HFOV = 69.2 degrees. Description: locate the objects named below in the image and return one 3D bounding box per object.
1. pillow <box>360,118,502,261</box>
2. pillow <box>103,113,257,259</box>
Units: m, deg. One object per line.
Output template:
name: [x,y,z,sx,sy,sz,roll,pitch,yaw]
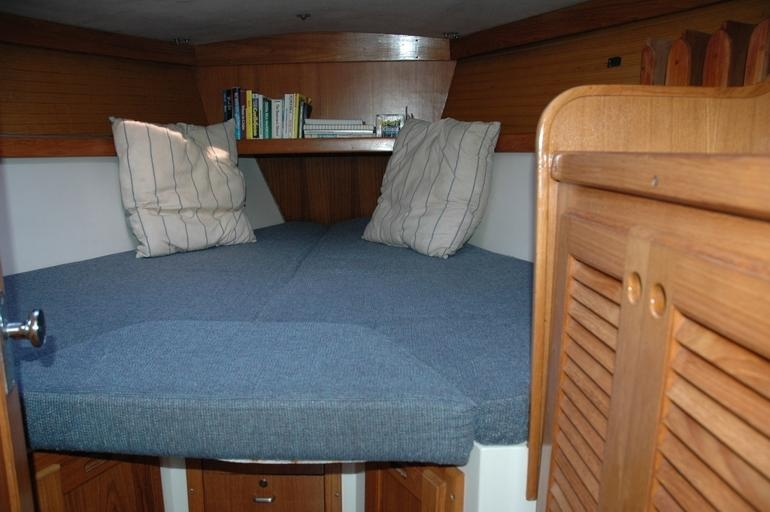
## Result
pillow: [0.304,-0.280,2.389,0.198,0.595,0.647,20,-5,-35]
pillow: [-0.869,-0.316,2.455,0.328,0.555,0.630,19,20,31]
